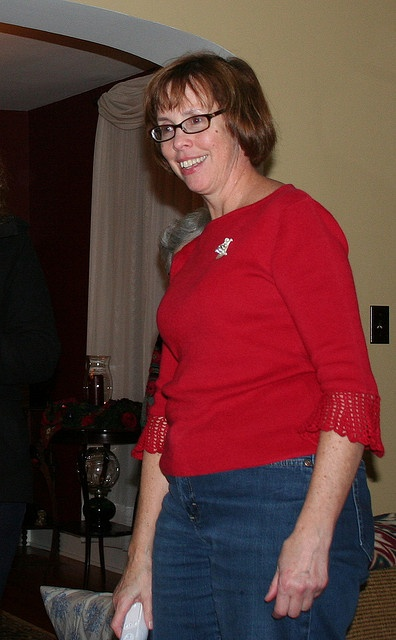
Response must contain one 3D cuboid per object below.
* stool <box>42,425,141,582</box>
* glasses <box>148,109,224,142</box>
[{"bbox_3d":[-0.633,1.147,3.594,0.696,0.896,0.666,-2,-12,8],"label":"stool"},{"bbox_3d":[-0.022,-0.338,1.003,0.076,0.021,0.076,-27,16,-40],"label":"glasses"}]
